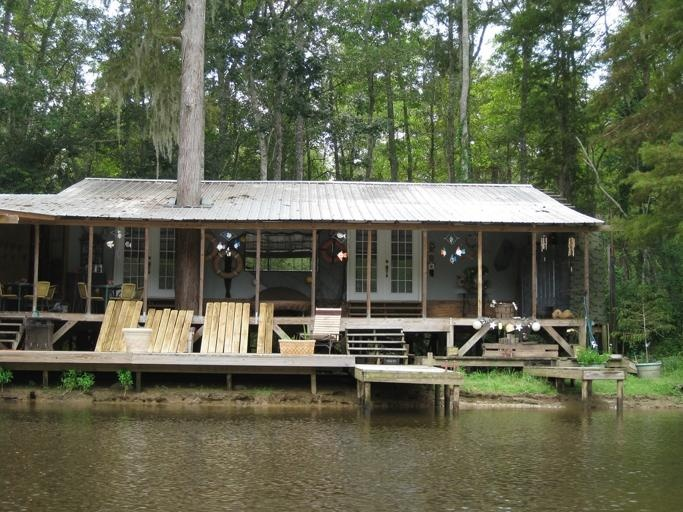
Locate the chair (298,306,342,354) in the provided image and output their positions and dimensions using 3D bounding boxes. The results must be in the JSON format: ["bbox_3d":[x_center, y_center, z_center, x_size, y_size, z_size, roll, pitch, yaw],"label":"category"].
[{"bbox_3d":[-0.530,2.119,22.594,1.029,1.316,1.373,0,3,26],"label":"chair"}]

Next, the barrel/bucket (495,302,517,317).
[{"bbox_3d":[4.852,1.612,23.955,0.426,0.373,0.444,0,-4,0],"label":"barrel/bucket"}]

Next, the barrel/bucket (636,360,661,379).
[{"bbox_3d":[9.235,3.399,24.208,0.496,0.365,0.540,0,-14,0],"label":"barrel/bucket"}]

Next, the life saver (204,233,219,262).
[{"bbox_3d":[-4.216,-0.313,25.564,0.340,0.900,0.745,-2,6,-30],"label":"life saver"}]

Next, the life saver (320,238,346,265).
[{"bbox_3d":[-0.296,-0.176,25.484,0.761,0.771,0.330,-1,5,-15],"label":"life saver"}]

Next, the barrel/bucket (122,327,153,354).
[{"bbox_3d":[-5.433,2.221,21.203,0.619,0.494,0.648,-1,-7,0],"label":"barrel/bucket"}]
